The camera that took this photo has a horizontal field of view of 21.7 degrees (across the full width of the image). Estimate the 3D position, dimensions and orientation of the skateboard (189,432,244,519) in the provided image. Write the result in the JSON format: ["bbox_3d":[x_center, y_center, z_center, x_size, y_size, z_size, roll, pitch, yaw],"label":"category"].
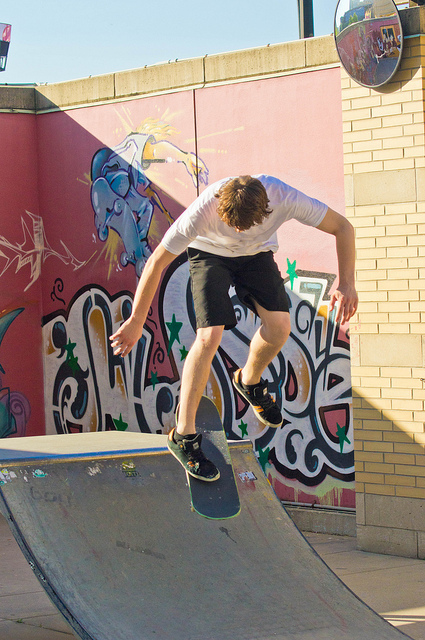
[{"bbox_3d":[-0.023,0.871,5.965,0.247,0.153,0.954,0,10,-6],"label":"skateboard"}]

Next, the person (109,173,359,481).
[{"bbox_3d":[0.049,-0.063,5.601,1.067,1.693,0.854,-19,40,-27],"label":"person"}]
